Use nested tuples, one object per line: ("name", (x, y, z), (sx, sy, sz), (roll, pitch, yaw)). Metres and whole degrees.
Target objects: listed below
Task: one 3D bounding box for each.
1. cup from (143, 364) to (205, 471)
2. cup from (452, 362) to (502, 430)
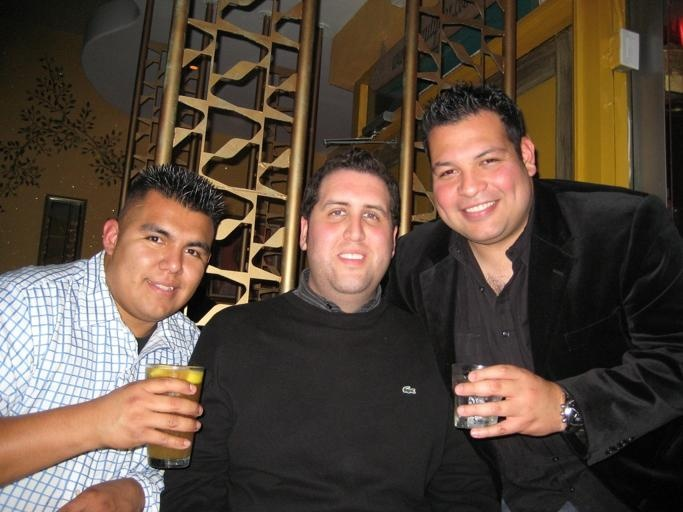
("cup", (-0.783, 0.740, 2.474), (0.391, 0.453, 0.390), (2, -10, 0))
("cup", (0.619, 0.643, 2.559), (0.257, 0.415, 0.344), (-2, -8, 23))
